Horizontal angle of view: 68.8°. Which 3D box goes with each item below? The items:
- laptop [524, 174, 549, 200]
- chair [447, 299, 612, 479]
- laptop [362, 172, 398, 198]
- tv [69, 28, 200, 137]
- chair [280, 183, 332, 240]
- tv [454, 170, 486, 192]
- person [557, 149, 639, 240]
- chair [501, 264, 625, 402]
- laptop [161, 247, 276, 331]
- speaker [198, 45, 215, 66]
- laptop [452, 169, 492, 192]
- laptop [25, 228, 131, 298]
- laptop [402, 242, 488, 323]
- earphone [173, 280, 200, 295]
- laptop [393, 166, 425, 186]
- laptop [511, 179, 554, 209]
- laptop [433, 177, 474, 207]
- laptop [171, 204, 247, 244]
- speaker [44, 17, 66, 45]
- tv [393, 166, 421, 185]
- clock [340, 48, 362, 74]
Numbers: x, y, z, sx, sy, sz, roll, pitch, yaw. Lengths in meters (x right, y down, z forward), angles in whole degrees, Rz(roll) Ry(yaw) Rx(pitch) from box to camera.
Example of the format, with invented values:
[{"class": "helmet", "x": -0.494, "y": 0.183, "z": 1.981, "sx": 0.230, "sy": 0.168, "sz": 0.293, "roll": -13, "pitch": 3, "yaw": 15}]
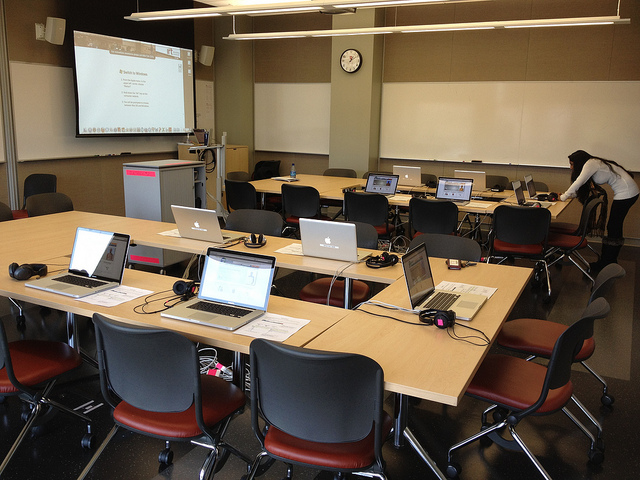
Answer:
[{"class": "laptop", "x": 3.093, "y": -0.750, "z": 6.716, "sx": 0.320, "sy": 0.291, "sz": 0.430, "roll": 4, "pitch": 11, "yaw": 26}, {"class": "chair", "x": 1.355, "y": 0.895, "z": 2.930, "sx": 1.171, "sy": 1.128, "sz": 0.607, "roll": -12, "pitch": 18, "yaw": -33}, {"class": "laptop", "x": 0.857, "y": -0.796, "z": 6.724, "sx": 0.501, "sy": 0.344, "sz": 0.414, "roll": 8, "pitch": 14, "yaw": 27}, {"class": "tv", "x": -3.104, "y": -2.584, "z": 7.947, "sx": 2.430, "sy": 1.546, "sz": 0.031, "roll": 9, "pitch": 16, "yaw": 15}, {"class": "chair", "x": -0.129, "y": -0.411, "z": 6.670, "sx": 0.712, "sy": 1.030, "sz": 0.718, "roll": 7, "pitch": 17, "yaw": 25}, {"class": "tv", "x": 2.360, "y": -0.949, "z": 7.189, "sx": 0.418, "sy": 0.309, "sz": 0.315, "roll": 6, "pitch": 11, "yaw": 36}, {"class": "person", "x": 4.089, "y": -0.689, "z": 6.790, "sx": 0.601, "sy": 1.755, "sz": 1.172, "roll": -32, "pitch": 27, "yaw": -32}, {"class": "chair", "x": 1.711, "y": 0.485, "z": 3.556, "sx": 0.827, "sy": 1.153, "sz": 0.757, "roll": 10, "pitch": 23, "yaw": 33}, {"class": "laptop", "x": -0.597, "y": 0.263, "z": 2.762, "sx": 0.570, "sy": 0.347, "sz": 0.560, "roll": 8, "pitch": 10, "yaw": 34}, {"class": "speaker", "x": -2.244, "y": -3.709, "z": 9.368, "sx": 0.253, "sy": 0.384, "sz": 0.386, "roll": 2, "pitch": 15, "yaw": 13}, {"class": "laptop", "x": 2.373, "y": -0.957, "z": 7.225, "sx": 0.471, "sy": 0.350, "sz": 0.373, "roll": 8, "pitch": 16, "yaw": 36}, {"class": "laptop", "x": -1.611, "y": 0.141, "z": 3.130, "sx": 0.520, "sy": 0.337, "sz": 0.482, "roll": 8, "pitch": 12, "yaw": 25}, {"class": "laptop", "x": 0.787, "y": 0.232, "z": 2.958, "sx": 0.405, "sy": 0.376, "sz": 0.493, "roll": 0, "pitch": 9, "yaw": 30}, {"class": "earphone", "x": -0.868, "y": 0.295, "z": 3.077, "sx": 0.098, "sy": 0.048, "sz": 0.117, "roll": 4, "pitch": 10, "yaw": 16}, {"class": "laptop", "x": 1.416, "y": -1.119, "z": 7.444, "sx": 0.433, "sy": 0.317, "sz": 0.311, "roll": 9, "pitch": 17, "yaw": 37}, {"class": "laptop", "x": 2.789, "y": -0.560, "z": 6.171, "sx": 0.443, "sy": 0.387, "sz": 0.591, "roll": 4, "pitch": 15, "yaw": 26}, {"class": "laptop", "x": 1.775, "y": -0.684, "z": 6.328, "sx": 0.542, "sy": 0.339, "sz": 0.485, "roll": 6, "pitch": 9, "yaw": 17}, {"class": "laptop", "x": -1.020, "y": -0.163, "z": 4.268, "sx": 0.566, "sy": 0.314, "sz": 0.548, "roll": 2, "pitch": 14, "yaw": 1}, {"class": "speaker", "x": -3.812, "y": -3.009, "z": 6.708, "sx": 0.224, "sy": 0.449, "sz": 0.299, "roll": 21, "pitch": 19, "yaw": 32}, {"class": "tv", "x": 1.417, "y": -1.066, "z": 7.428, "sx": 0.406, "sy": 0.302, "sz": 0.301, "roll": 7, "pitch": 16, "yaw": 32}, {"class": "clock", "x": 0.585, "y": -3.334, "z": 8.642, "sx": 0.421, "sy": 0.454, "sz": 0.084, "roll": 3, "pitch": 8, "yaw": 34}]
